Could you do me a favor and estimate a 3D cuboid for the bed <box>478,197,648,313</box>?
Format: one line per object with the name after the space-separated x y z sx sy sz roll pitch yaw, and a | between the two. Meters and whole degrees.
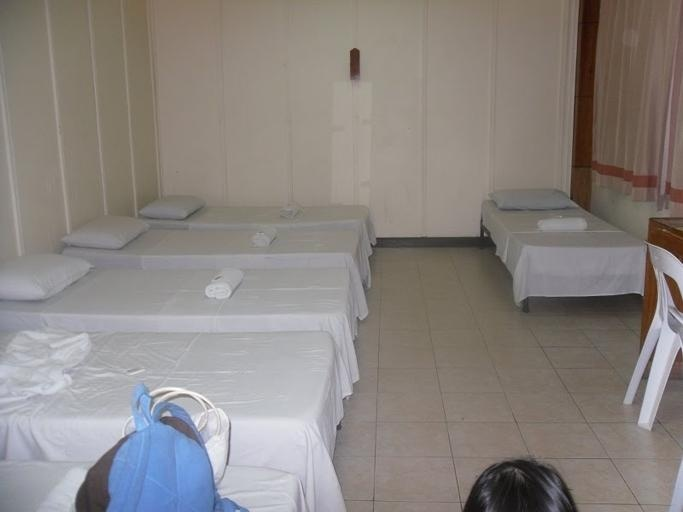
2.190 -0.133 5.311 1.211 0.560 2.150 3 20 12 | bed
